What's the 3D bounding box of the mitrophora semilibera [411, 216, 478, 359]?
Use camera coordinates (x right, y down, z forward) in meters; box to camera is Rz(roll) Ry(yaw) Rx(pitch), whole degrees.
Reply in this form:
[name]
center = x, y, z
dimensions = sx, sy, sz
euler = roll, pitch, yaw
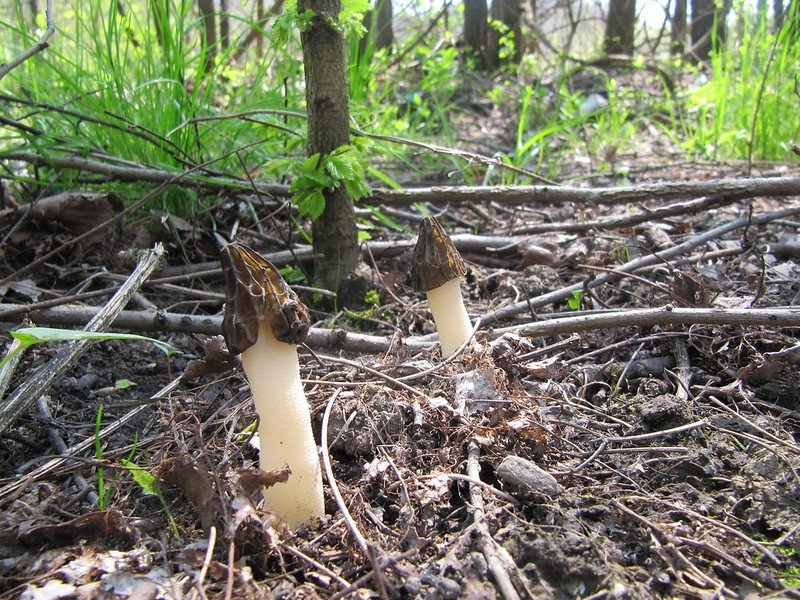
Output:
[mitrophora semilibera]
center = 0.210, -0.041, 3.029
dimensions = 0.245, 0.616, 0.408
euler = -10, 26, -23
